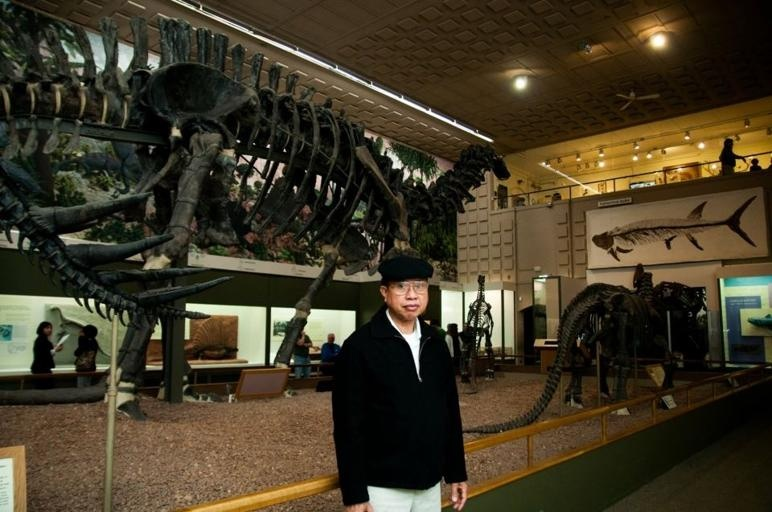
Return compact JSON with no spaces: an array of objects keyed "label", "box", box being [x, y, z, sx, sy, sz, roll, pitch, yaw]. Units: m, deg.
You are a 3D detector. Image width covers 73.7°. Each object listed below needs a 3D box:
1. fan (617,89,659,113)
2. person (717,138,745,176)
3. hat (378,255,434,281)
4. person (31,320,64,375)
[{"label":"fan","box":[6.775,-4.239,13.846,0.752,0.209,0.848,3,0,23]},{"label":"person","box":[10.069,-2.913,14.969,0.519,1.393,1.205,-4,-8,36]},{"label":"hat","box":[0.132,0.082,3.813,0.400,0.150,0.457,1,0,0]},{"label":"person","box":[-5.342,1.433,8.113,0.365,0.819,1.598,5,-8,-32]}]
